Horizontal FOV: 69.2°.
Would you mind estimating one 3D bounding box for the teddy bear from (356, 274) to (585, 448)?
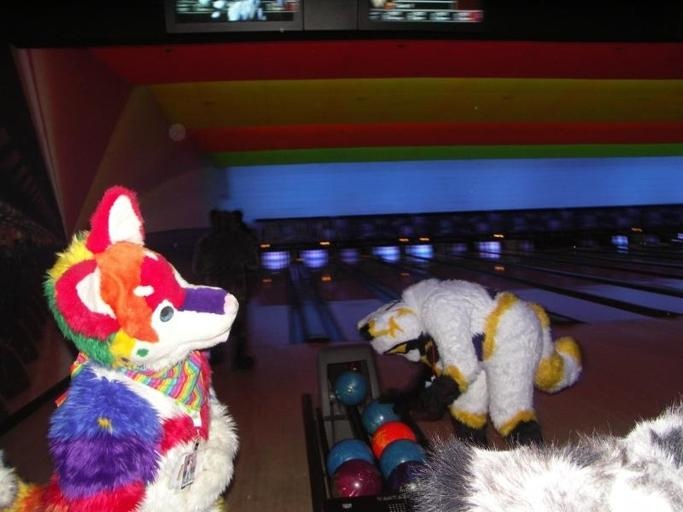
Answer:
[{"bbox_3d":[0.582,0.517,2.076,0.865,0.812,0.437,-10,-4,-3],"label":"teddy bear"}]
